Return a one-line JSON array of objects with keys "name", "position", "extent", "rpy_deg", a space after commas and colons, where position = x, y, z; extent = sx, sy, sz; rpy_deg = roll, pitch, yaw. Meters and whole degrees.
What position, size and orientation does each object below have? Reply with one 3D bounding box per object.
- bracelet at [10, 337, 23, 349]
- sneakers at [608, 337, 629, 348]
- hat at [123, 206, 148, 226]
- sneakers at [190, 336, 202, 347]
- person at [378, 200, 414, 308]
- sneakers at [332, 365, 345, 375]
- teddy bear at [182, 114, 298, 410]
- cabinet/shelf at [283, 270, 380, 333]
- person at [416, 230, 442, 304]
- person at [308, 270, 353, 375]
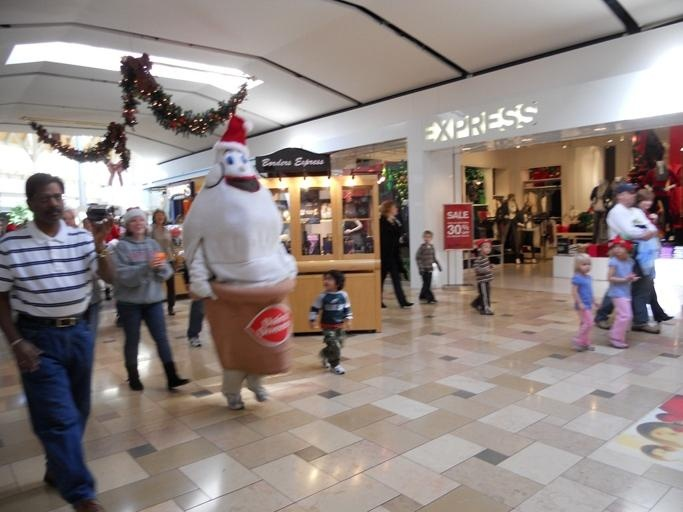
[{"name": "bracelet", "position": [-1.901, 0.507, 2.713], "extent": [0.064, 0.015, 0.056], "rpy_deg": [-18, 15, 21]}, {"name": "sneakers", "position": [3.249, 1.028, 5.489], "extent": [0.232, 0.083, 0.118], "rpy_deg": [-3, 14, 12]}, {"name": "hat", "position": [-2.032, -0.398, 4.630], "extent": [0.217, 0.174, 0.187], "rpy_deg": [7, -4, -42]}, {"name": "sneakers", "position": [-1.947, 1.139, 6.192], "extent": [0.185, 0.133, 0.123], "rpy_deg": [-6, 13, 9]}, {"name": "person", "position": [0.832, -0.005, 8.031], "extent": [0.453, 1.876, 0.910], "rpy_deg": [3, 10, 36]}, {"name": "sneakers", "position": [-0.036, 1.229, 4.996], "extent": [0.143, 0.066, 0.076], "rpy_deg": [1, 9, -1]}, {"name": "teddy bear", "position": [-0.846, -0.016, 3.898], "extent": [0.915, 2.083, 0.415], "rpy_deg": [-5, 9, -13]}, {"name": "cabinet/shelf", "position": [-0.118, 0.510, 5.607], "extent": [1.162, 0.814, 0.368], "rpy_deg": [0, 8, -2]}, {"name": "person", "position": [1.602, 0.192, 8.579], "extent": [0.431, 1.303, 0.585], "rpy_deg": [-2, 8, 8]}, {"name": "person", "position": [-0.114, 0.706, 5.012], "extent": [0.419, 1.114, 0.316], "rpy_deg": [-4, 8, 0]}]
